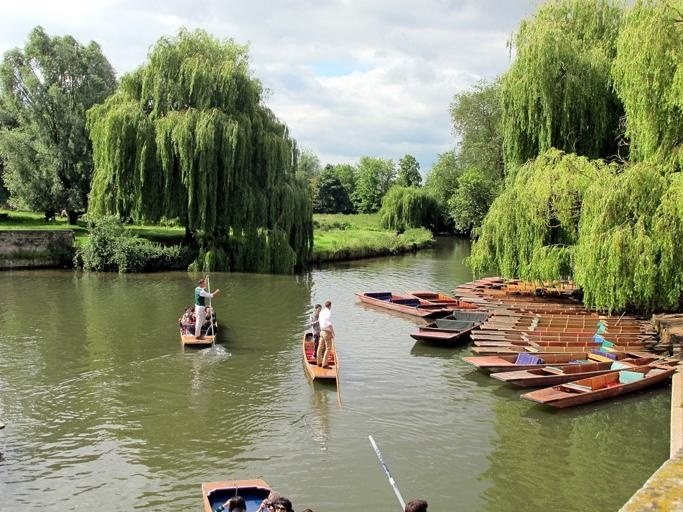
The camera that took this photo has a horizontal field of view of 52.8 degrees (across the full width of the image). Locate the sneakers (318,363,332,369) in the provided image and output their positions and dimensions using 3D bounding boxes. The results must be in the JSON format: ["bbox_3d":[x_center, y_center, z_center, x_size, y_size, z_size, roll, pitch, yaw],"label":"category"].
[{"bbox_3d":[-0.526,3.725,23.179,0.504,0.265,0.173,-6,1,29],"label":"sneakers"}]
